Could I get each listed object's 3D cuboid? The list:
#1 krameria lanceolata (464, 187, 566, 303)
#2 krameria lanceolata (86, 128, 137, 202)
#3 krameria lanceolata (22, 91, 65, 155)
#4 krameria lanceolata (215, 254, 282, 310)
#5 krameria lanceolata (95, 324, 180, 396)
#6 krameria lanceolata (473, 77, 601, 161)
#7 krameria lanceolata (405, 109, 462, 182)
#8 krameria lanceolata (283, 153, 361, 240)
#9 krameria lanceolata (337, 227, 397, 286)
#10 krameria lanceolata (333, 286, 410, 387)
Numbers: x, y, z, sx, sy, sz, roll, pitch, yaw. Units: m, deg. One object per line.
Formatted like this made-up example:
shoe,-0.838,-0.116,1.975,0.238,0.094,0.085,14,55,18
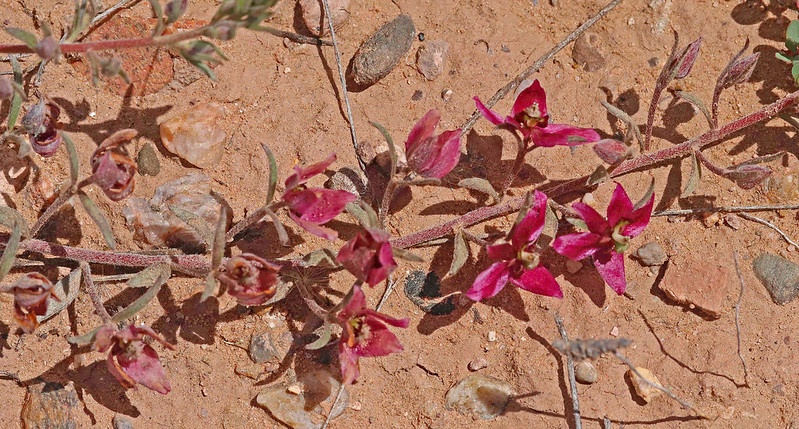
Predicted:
krameria lanceolata,0.780,0.248,5.566,0.815,0.580,0.375,-45,102,6
krameria lanceolata,-1.854,-0.312,5.376,0.186,0.317,0.450,10,96,-2
krameria lanceolata,-2.402,-0.691,5.710,0.237,0.298,0.152,-47,106,-14
krameria lanceolata,-0.947,0.411,5.333,0.347,0.232,0.301,31,79,3
krameria lanceolata,-1.717,0.944,5.558,0.480,0.595,0.390,10,78,0
krameria lanceolata,0.981,-0.551,5.742,0.854,0.509,0.355,21,115,24
krameria lanceolata,0.220,-0.443,5.574,0.360,0.179,0.388,39,79,5
krameria lanceolata,-0.614,-0.152,5.466,0.260,0.526,0.523,-41,97,6
krameria lanceolata,-0.185,0.267,5.275,0.329,0.230,0.312,-36,83,-9
krameria lanceolata,-0.212,0.783,5.546,0.408,0.527,0.311,21,61,40
